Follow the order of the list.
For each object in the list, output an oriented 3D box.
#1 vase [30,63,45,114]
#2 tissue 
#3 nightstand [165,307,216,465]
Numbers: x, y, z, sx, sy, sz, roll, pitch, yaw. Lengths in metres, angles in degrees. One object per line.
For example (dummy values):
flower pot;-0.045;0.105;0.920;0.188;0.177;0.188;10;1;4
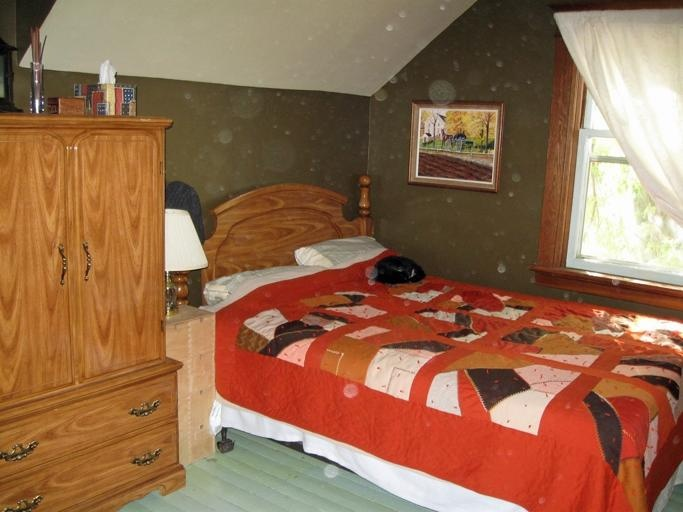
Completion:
vase;-1.309;-0.719;2.142;0.055;0.213;0.141;-7;18;-27
tissue ;-1.158;-0.816;2.450;0.182;0.200;0.215;13;25;7
nightstand;-0.869;0.732;2.935;0.456;0.713;0.491;1;5;-27
